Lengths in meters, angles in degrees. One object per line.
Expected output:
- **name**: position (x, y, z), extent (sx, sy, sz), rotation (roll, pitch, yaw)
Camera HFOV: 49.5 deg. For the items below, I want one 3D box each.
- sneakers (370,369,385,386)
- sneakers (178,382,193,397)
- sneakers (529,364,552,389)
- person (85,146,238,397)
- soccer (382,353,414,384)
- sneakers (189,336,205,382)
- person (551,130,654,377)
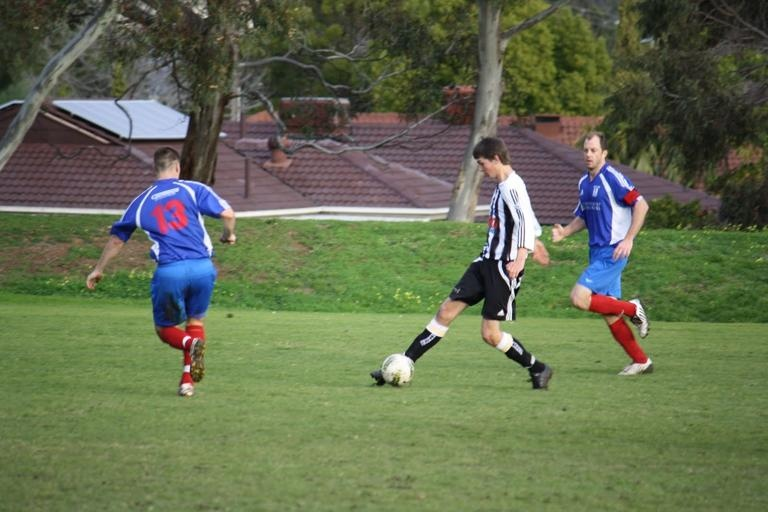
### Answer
- **sneakers**: position (-0.063, 1.500, 10.404), extent (0.148, 0.203, 0.105), rotation (2, 51, 12)
- **sneakers**: position (-2.323, 1.548, 9.801), extent (0.103, 0.086, 0.206), rotation (0, 4, -18)
- **sneakers**: position (1.944, 1.417, 10.297), extent (0.221, 0.388, 0.142), rotation (13, -12, -13)
- **person**: position (-2.505, 0.326, 10.026), extent (1.387, 2.428, 1.067), rotation (-1, 13, -6)
- **soccer**: position (0.204, 1.356, 10.341), extent (0.412, 0.322, 0.374), rotation (13, -30, -8)
- **sneakers**: position (-2.203, 1.214, 9.837), extent (0.146, 0.513, 0.237), rotation (-1, 13, -8)
- **person**: position (2.964, -0.032, 10.907), extent (1.291, 3.073, 0.773), rotation (5, 14, 20)
